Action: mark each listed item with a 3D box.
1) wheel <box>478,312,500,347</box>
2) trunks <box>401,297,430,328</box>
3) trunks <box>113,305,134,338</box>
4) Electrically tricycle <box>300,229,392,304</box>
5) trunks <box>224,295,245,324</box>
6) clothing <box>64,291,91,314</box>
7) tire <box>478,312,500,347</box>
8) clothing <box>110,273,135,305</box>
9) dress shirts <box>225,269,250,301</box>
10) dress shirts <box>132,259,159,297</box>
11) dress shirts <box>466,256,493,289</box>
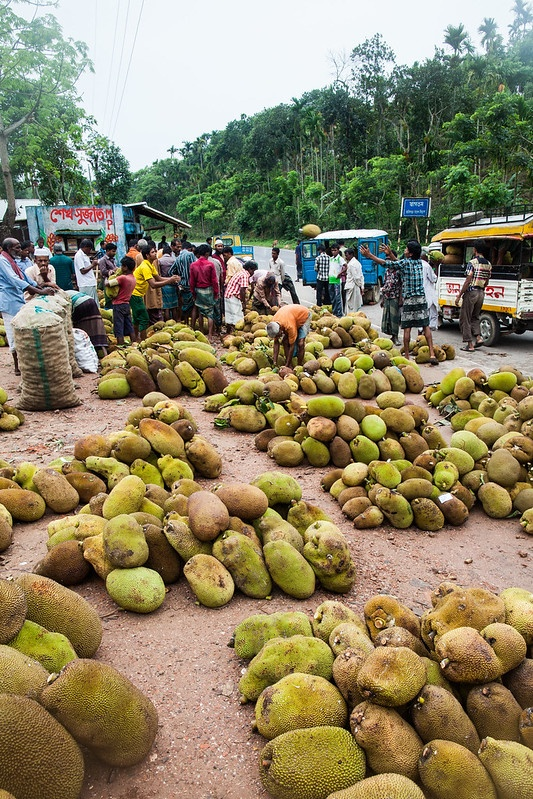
[{"bbox_3d":[4.293,-1.350,10.887,0.213,0.789,0.685,-2,4,-13],"label":"wheel"},{"bbox_3d":[2.388,-1.398,9.120,0.455,0.567,0.307,5,57,10],"label":"trunks"},{"bbox_3d":[-2.330,-1.287,9.191,0.303,0.710,0.202,-22,55,-30],"label":"trunks"},{"bbox_3d":[2.444,-4.488,18.271,2.409,1.953,3.416,2,35,10],"label":"Electrically tricycle"},{"bbox_3d":[-0.629,-1.764,11.072,0.287,0.510,0.383,-25,40,-29],"label":"trunks"},{"bbox_3d":[-2.754,-1.419,8.179,0.327,0.161,0.449,-12,18,-35],"label":"clothing"},{"bbox_3d":[4.293,-1.350,10.887,0.213,0.789,0.685,-2,4,-13],"label":"tire"},{"bbox_3d":[-2.259,-1.726,8.873,0.241,0.417,0.435,14,27,18],"label":"clothing"},{"bbox_3d":[-0.586,-2.265,11.131,0.368,0.665,0.623,2,34,-24],"label":"dress shirts"},{"bbox_3d":[-1.985,-2.055,9.513,0.530,0.753,0.567,-1,28,-13],"label":"dress shirts"},{"bbox_3d":[3.829,-2.275,10.218,0.355,0.574,0.447,3,12,15],"label":"dress shirts"}]
